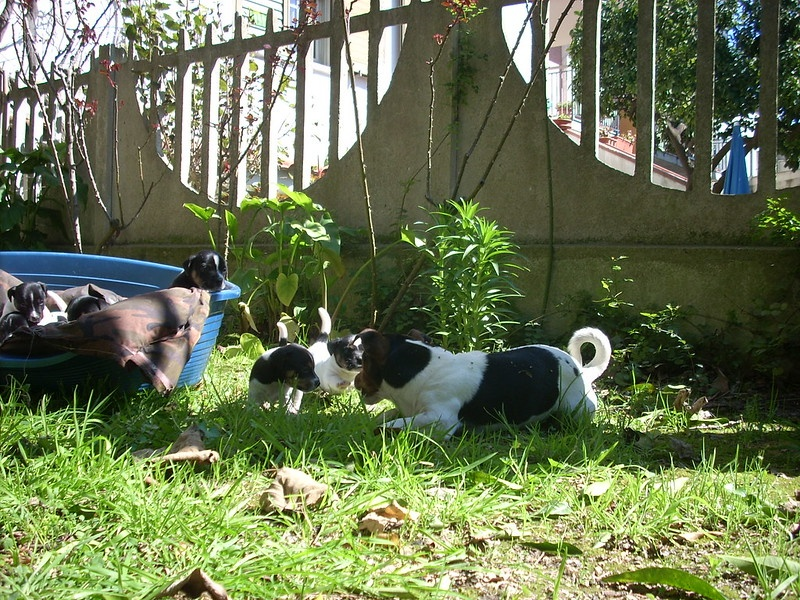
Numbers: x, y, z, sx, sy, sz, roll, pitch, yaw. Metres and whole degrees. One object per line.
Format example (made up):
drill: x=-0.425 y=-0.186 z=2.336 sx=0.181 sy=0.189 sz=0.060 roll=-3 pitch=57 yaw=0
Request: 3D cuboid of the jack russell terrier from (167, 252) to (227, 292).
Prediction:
jack russell terrier: x=-0.950 y=-0.138 z=3.562 sx=0.248 sy=0.191 sz=0.242 roll=3 pitch=2 yaw=-17

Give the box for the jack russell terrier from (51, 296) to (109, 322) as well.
jack russell terrier: x=-1.409 y=0.040 z=3.369 sx=0.178 sy=0.110 sz=0.127 roll=4 pitch=2 yaw=-4

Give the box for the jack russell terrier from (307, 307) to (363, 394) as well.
jack russell terrier: x=-0.314 y=0.289 z=3.639 sx=0.173 sy=0.353 sz=0.503 roll=0 pitch=0 yaw=-34

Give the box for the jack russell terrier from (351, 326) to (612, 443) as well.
jack russell terrier: x=0.356 y=0.340 z=3.164 sx=0.981 sy=0.470 sz=0.430 roll=-1 pitch=-2 yaw=-5
